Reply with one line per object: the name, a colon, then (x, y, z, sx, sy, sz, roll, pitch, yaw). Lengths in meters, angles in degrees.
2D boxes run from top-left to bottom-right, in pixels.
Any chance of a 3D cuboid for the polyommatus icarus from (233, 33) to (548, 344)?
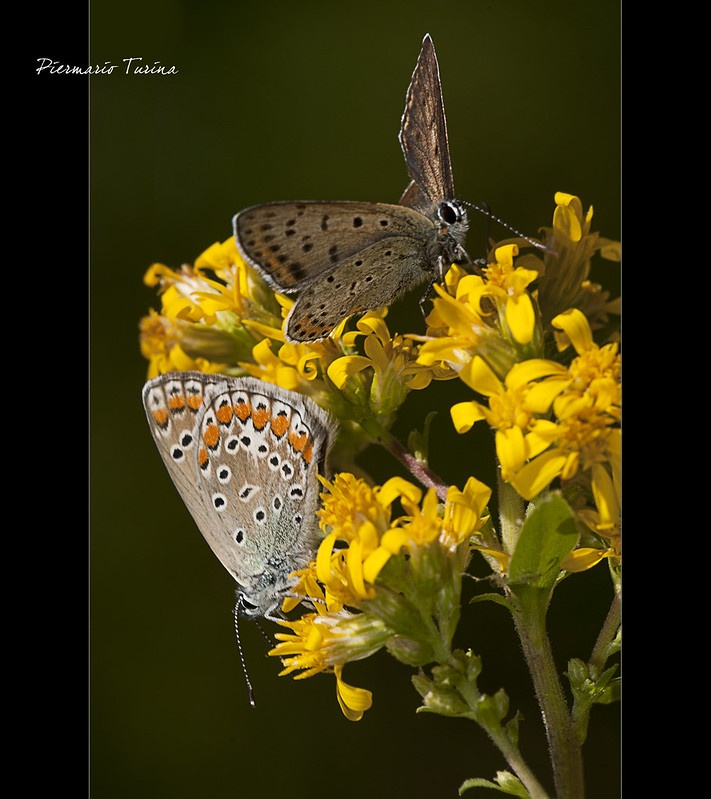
polyommatus icarus: (0.019, -0.223, 1.367, 0.322, 0.415, 0.377, -13, 15, 0)
